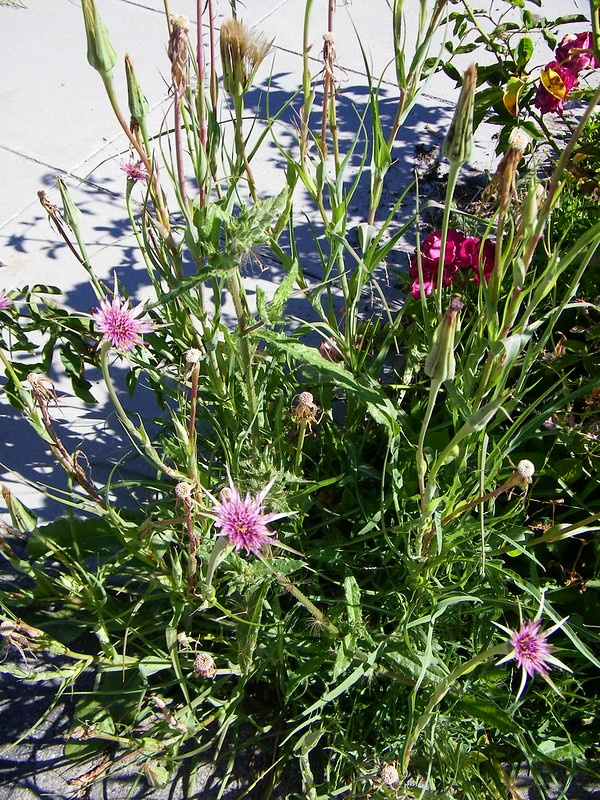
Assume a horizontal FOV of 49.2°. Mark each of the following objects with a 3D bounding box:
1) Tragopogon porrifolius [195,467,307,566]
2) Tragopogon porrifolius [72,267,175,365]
[{"bbox_3d":[-0.075,0.158,0.894,0.165,0.056,0.162,-11,9,5],"label":"Tragopogon porrifolius"},{"bbox_3d":[-0.323,-0.170,1.181,0.149,0.054,0.128,-9,-4,33],"label":"Tragopogon porrifolius"}]
